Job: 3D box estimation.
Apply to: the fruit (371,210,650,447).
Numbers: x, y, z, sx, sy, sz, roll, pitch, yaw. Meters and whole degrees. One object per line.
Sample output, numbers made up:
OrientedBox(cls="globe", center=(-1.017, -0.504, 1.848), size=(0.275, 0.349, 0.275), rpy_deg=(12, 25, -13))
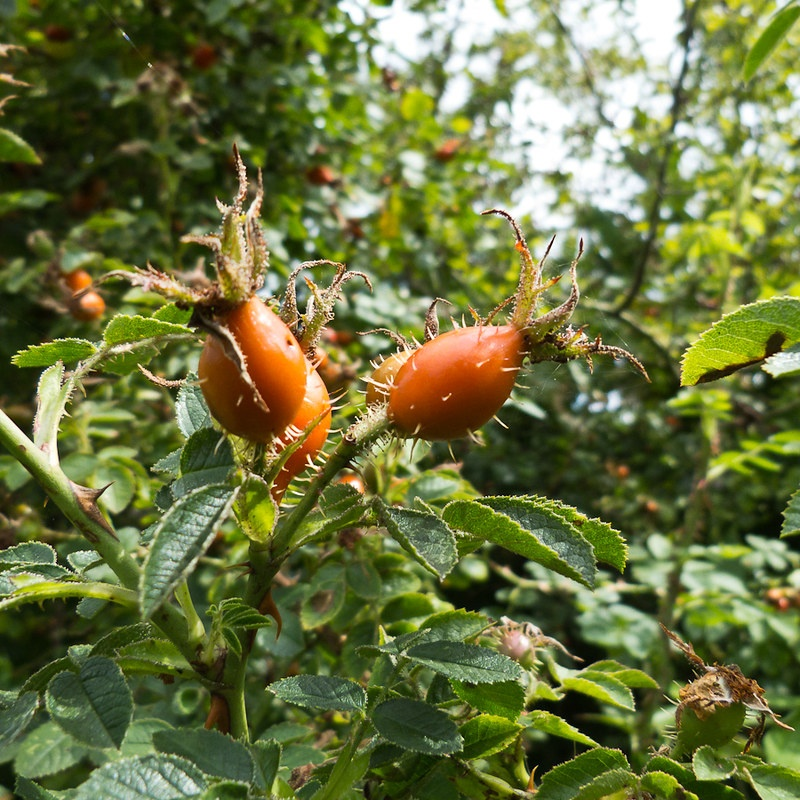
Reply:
OrientedBox(cls="fruit", center=(0.182, -0.108, 1.832), size=(0.248, 0.555, 0.297), rpy_deg=(8, 61, -54))
